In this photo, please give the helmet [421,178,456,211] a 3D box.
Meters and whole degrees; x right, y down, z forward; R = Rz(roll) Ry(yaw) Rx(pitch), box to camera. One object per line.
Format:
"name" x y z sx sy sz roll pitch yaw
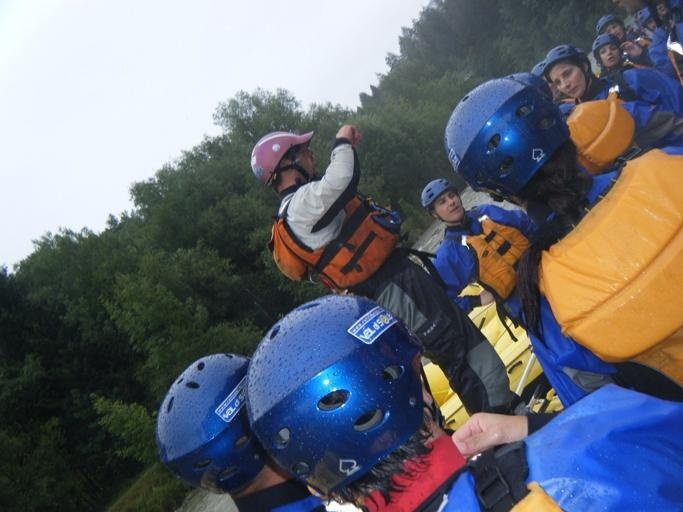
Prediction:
"helmet" 1.321 -0.902 8.951 0.320 0.508 0.350 -13 28 -24
